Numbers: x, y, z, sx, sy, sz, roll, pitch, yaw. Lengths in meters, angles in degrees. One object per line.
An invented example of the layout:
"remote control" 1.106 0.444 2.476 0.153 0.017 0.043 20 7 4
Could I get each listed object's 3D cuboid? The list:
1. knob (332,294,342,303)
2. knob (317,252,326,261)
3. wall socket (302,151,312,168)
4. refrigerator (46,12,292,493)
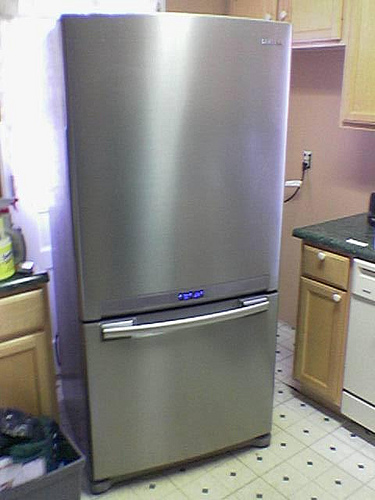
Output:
"knob" 0.624 0.200 1.777 0.015 0.029 0.028 -28 27 -30
"knob" 0.564 0.028 1.805 0.020 0.037 0.040 -4 13 -22
"wall socket" 0.682 -0.517 2.429 0.045 0.093 0.018 6 13 21
"refrigerator" -0.013 0.055 1.416 0.780 1.501 0.280 -5 13 -27
